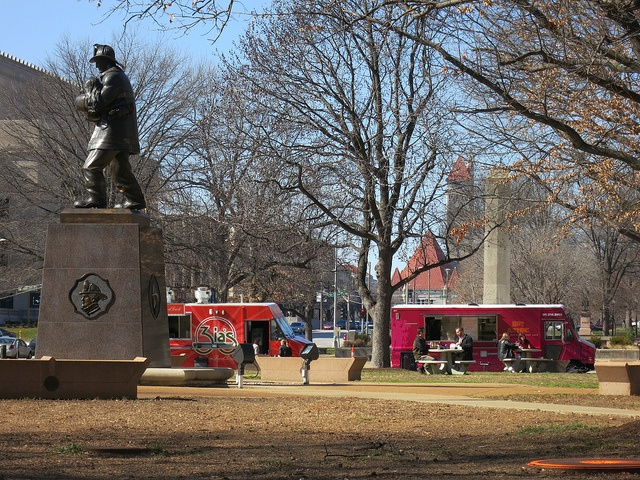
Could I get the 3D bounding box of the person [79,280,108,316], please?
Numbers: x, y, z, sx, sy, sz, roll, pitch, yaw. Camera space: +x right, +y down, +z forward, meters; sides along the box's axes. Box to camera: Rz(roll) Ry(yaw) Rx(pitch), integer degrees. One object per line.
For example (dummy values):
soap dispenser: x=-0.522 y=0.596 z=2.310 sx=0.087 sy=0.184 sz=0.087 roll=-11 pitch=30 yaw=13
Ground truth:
person: x=-5.862 y=1.492 z=28.115 sx=0.880 sy=0.830 sz=0.709 roll=-6 pitch=-5 yaw=20

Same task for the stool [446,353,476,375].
stool: x=5.175 y=4.687 z=39.874 sx=0.789 sy=0.809 sz=1.267 roll=-2 pitch=-3 yaw=33

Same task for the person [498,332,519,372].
person: x=7.017 y=4.240 z=40.034 sx=0.729 sy=1.104 sz=1.404 roll=2 pitch=0 yaw=16

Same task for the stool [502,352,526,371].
stool: x=7.348 y=4.742 z=40.551 sx=0.691 sy=0.472 sz=1.036 roll=0 pitch=0 yaw=8

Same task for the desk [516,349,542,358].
desk: x=8.228 y=4.466 z=41.879 sx=0.804 sy=0.259 sz=0.771 roll=1 pitch=-5 yaw=-8

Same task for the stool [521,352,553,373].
stool: x=8.333 y=4.858 z=41.726 sx=0.907 sy=0.449 sz=1.371 roll=0 pitch=-2 yaw=18

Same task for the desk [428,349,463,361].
desk: x=4.688 y=4.293 z=39.764 sx=0.842 sy=0.273 sz=0.814 roll=0 pitch=-1 yaw=-25

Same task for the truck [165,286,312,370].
truck: x=-3.354 y=3.613 z=42.182 sx=5.136 sy=2.396 sz=2.839 roll=0 pitch=-2 yaw=1
